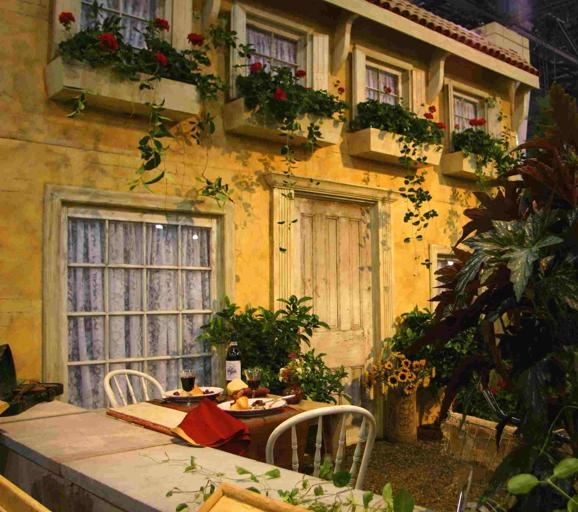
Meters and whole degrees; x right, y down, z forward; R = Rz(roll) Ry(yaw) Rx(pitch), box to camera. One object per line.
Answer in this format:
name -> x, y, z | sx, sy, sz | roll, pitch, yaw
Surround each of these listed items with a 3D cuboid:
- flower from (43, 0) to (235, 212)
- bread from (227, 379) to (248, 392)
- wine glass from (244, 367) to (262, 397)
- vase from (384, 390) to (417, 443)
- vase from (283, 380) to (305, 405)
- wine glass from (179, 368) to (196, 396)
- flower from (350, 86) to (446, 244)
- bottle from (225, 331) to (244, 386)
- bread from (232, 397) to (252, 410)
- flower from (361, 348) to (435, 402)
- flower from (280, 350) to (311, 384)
flower -> -0.860, -1.050, 3.886 | 0.597, 1.329, 1.268 | 0, -5, 35
bread -> -0.269, 0.677, 3.209 | 0.070, 0.065, 0.073 | 2, 7, 37
wine glass -> -0.184, 0.659, 3.188 | 0.108, 0.134, 0.107 | 0, -1, 5
vase -> 0.983, 1.364, 5.271 | 0.254, 0.458, 0.264 | -3, 5, -37
vase -> 0.026, 0.705, 3.182 | 0.089, 0.096, 0.094 | 1, 1, 6
wine glass -> -0.516, 0.622, 3.030 | 0.101, 0.144, 0.107 | 3, -5, -37
flower -> 0.929, -0.802, 5.396 | 0.342, 1.763, 1.245 | -6, -9, 43
bottle -> -0.313, 0.571, 3.446 | 0.081, 0.261, 0.392 | 3, -4, -5
bread -> -0.213, 0.670, 2.775 | 0.060, 0.031, 0.085 | 5, 1, -9
flower -> 0.936, 1.015, 5.243 | 0.532, 0.354, 0.532 | -1, -6, 44
flower -> 0.037, 0.725, 3.996 | 0.196, 0.243, 0.226 | 4, 4, 5
